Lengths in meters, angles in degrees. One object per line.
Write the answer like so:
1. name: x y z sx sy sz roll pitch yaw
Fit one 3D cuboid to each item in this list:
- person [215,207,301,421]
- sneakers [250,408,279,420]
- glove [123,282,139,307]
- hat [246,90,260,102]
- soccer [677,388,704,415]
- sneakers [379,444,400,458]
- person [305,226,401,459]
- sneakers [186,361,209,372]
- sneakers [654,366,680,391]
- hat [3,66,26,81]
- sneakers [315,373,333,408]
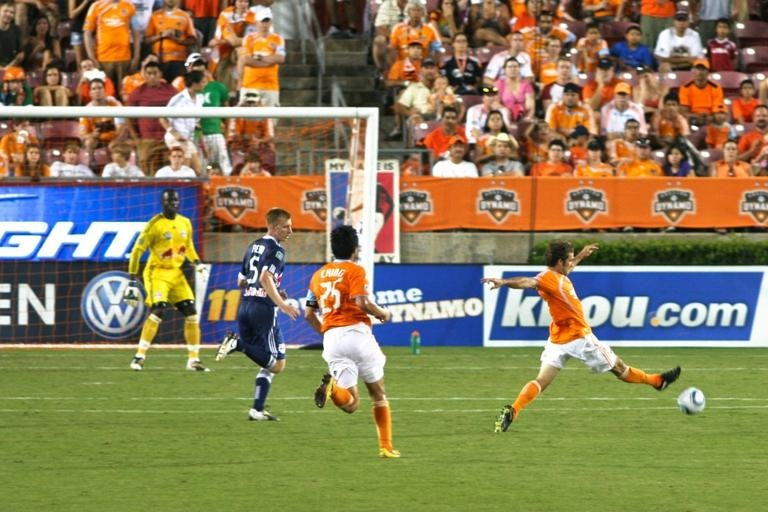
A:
1. person: -1.955 0.965 28.600 0.993 3.338 1.349 -4 10 -16
2. sneakers: -1.930 2.582 28.497 0.511 0.185 0.171 3 2 -12
3. glove: -4.429 0.733 31.465 0.382 0.440 0.182 5 5 7
4. hat: -2.605 -3.146 35.489 0.261 0.093 0.301 2 -13 -4
5. soccer: 4.913 2.378 28.402 0.396 0.472 0.367 0 9 6
6. sneakers: 0.118 3.003 26.872 0.156 0.117 0.293 3 1 29
7. person: -0.492 1.355 26.912 1.201 3.519 1.158 -5 10 -18
8. sneakers: -3.280 1.994 31.350 0.452 0.152 0.155 2 1 -7
9. sneakers: 4.723 2.100 29.629 0.562 0.175 0.246 -30 -18 8
10. hat: -7.421 -3.637 35.782 0.352 0.165 0.468 -2 0 -23
11. sneakers: -0.932 2.017 26.595 0.227 0.538 0.259 15 -16 10
